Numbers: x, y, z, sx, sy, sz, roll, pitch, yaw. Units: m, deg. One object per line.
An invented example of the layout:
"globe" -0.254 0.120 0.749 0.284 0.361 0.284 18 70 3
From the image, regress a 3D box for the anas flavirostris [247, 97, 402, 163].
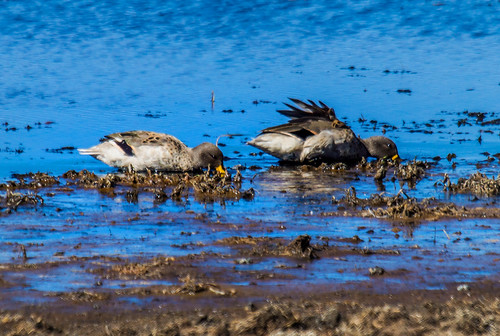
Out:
"anas flavirostris" 1.769 -0.534 17.050 3.244 1.237 1.075 9 -22 -5

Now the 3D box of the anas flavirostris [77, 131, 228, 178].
"anas flavirostris" -2.034 -0.311 15.486 3.479 0.959 1.123 -1 7 -7
